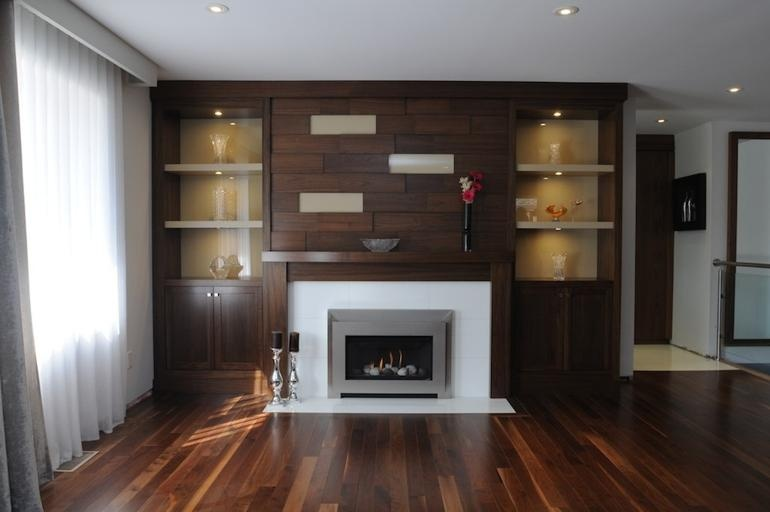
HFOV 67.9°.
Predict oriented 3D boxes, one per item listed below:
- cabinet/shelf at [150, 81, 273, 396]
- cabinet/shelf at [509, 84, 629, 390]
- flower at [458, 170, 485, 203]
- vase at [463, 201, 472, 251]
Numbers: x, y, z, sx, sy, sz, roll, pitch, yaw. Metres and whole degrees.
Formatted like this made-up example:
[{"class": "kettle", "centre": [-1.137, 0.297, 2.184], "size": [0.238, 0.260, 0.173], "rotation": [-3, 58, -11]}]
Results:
[{"class": "cabinet/shelf", "centre": [-1.720, -0.107, 6.163], "size": [1.327, 3.233, 0.594], "rotation": [1, 5, 11]}, {"class": "cabinet/shelf", "centre": [1.868, -0.129, 6.227], "size": [1.348, 3.121, 0.632], "rotation": [-1, 4, -3]}, {"class": "flower", "centre": [0.892, -0.704, 5.896], "size": [0.248, 0.318, 0.202], "rotation": [2, 13, 7]}, {"class": "vase", "centre": [0.858, -0.309, 5.906], "size": [0.095, 0.492, 0.203], "rotation": [2, 13, 8]}]
